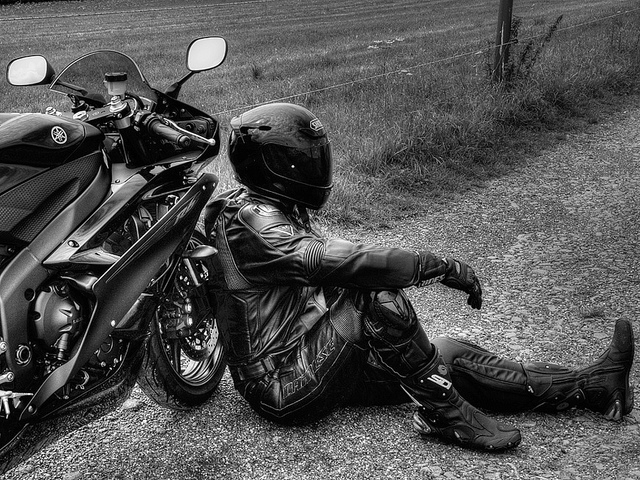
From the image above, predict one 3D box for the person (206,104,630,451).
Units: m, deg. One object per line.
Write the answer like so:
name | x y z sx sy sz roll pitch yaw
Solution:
person | 0.514 0.159 2.848 2.010 1.613 0.989 -2 5 0
